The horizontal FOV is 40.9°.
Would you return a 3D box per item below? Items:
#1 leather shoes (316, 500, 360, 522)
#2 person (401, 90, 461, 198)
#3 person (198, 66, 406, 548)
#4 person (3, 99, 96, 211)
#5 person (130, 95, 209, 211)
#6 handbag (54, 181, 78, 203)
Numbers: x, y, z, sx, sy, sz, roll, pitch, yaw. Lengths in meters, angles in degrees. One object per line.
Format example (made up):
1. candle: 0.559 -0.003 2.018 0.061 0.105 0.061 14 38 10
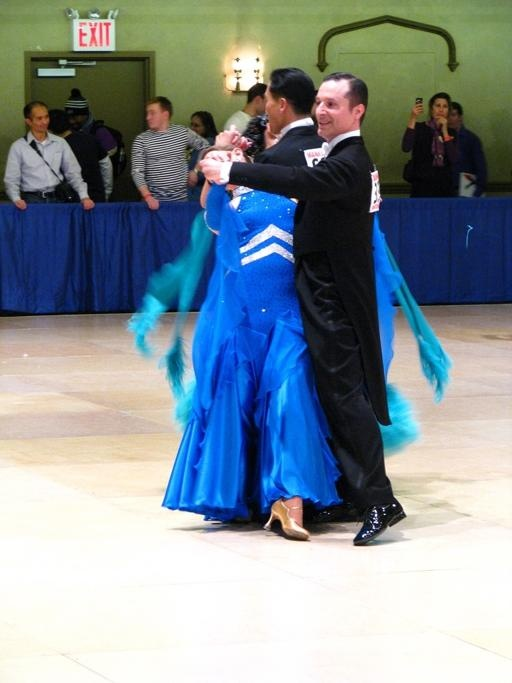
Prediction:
1. leather shoes: 0.318 0.658 2.609 0.156 0.042 0.095 0 -3 -40
2. person: 2.513 -2.773 9.821 0.779 1.446 0.908 3 12 15
3. person: 0.290 -0.114 2.396 0.683 1.590 0.601 -12 17 -43
4. person: -2.684 -2.380 8.800 0.970 1.211 0.401 -3 13 -15
5. person: -1.190 -2.342 8.708 0.683 1.336 0.422 -2 12 -9
6. handbag: -2.446 -1.945 8.951 0.158 0.241 0.226 -16 15 20
